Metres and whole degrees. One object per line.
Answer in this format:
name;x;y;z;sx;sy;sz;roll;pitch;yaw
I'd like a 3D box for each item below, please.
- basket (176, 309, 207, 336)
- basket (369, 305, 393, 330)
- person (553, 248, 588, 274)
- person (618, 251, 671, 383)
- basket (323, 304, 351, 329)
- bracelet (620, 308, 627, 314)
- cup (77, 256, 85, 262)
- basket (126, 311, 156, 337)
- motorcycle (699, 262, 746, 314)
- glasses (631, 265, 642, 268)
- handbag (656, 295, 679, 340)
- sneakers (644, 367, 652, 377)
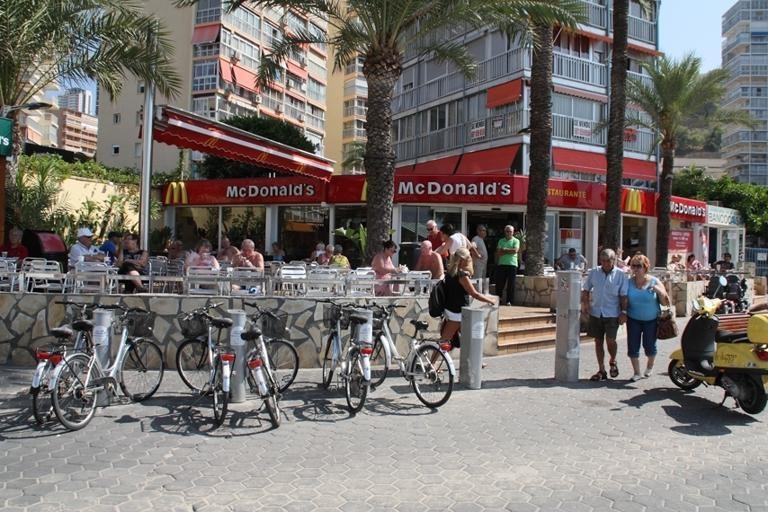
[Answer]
basket;-3.624;1.333;15.678;0.576;0.606;0.414;-3;-6;-20
basket;-0.056;1.203;16.262;0.490;0.331;0.317;1;-2;3
person;6.081;0.184;27.067;0.795;1.468;0.544;-1;-4;-7
person;5.537;1.314;17.453;0.838;2.621;0.993;-1;-3;19
basket;-0.930;1.201;16.202;0.405;0.362;0.471;0;-9;9
bracelet;5.043;1.180;17.355;0.087;0.068;0.085;1;0;-44
cup;-7.319;0.068;19.949;0.115;0.102;0.130;-1;1;2
basket;-4.686;1.302;15.903;0.467;0.477;0.118;4;-1;-44
motorcycle;9.901;0.938;24.123;1.040;1.318;2.192;1;2;26
glasses;5.240;0.233;17.217;0.121;0.113;0.261;1;-4;-22
handbag;5.877;1.286;17.148;0.332;0.838;0.596;-5;13;21
sneakers;5.659;2.488;17.661;0.170;0.188;0.447;-3;-5;17
